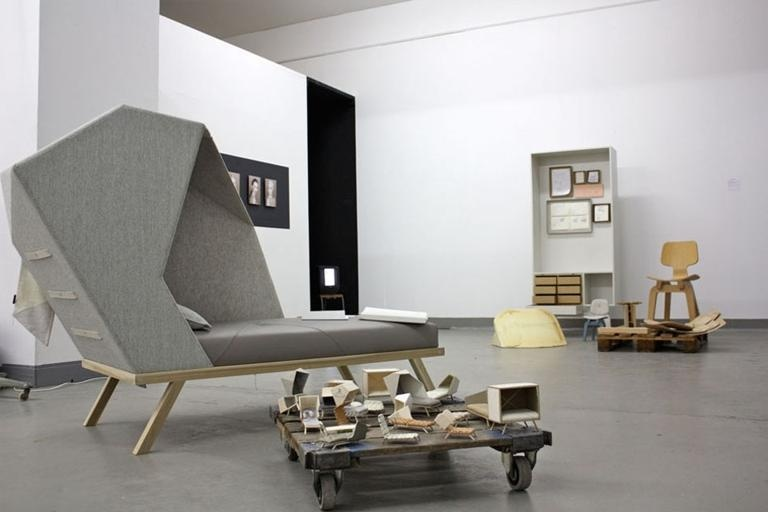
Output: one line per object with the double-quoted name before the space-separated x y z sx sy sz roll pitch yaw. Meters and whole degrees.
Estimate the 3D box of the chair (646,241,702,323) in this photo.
"chair" 4.313 0.398 7.838 0.644 0.996 1.262 -1 0 28

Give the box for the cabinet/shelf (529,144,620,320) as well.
"cabinet/shelf" 3.131 -0.488 8.700 1.336 2.371 0.856 -1 0 24

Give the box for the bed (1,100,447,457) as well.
"bed" -1.034 0.108 4.503 3.271 2.275 1.959 -1 -2 -24

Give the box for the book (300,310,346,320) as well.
"book" -0.511 0.504 4.454 0.289 0.068 0.268 1 -4 -23
